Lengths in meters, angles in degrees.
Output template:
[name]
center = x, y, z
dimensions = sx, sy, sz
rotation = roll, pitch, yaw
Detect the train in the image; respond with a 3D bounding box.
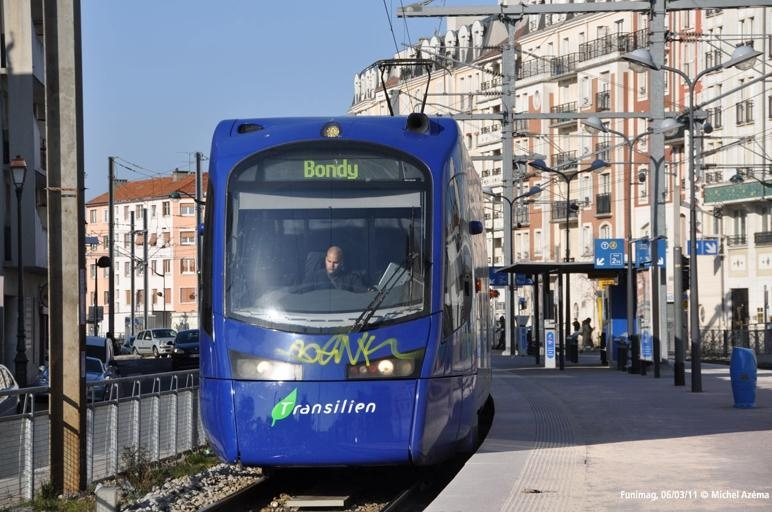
[train]
center = -0.777, 0.698, 14.657
dimensions = 2.291, 3.270, 7.068
rotation = -1, -5, 5

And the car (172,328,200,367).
[car]
center = -9.531, 4.181, 48.538
dimensions = 1.538, 1.504, 3.414
rotation = 0, -9, -8

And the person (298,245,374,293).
[person]
center = -0.761, 0.176, 14.681
dimensions = 0.939, 0.618, 0.437
rotation = 1, 11, 5
